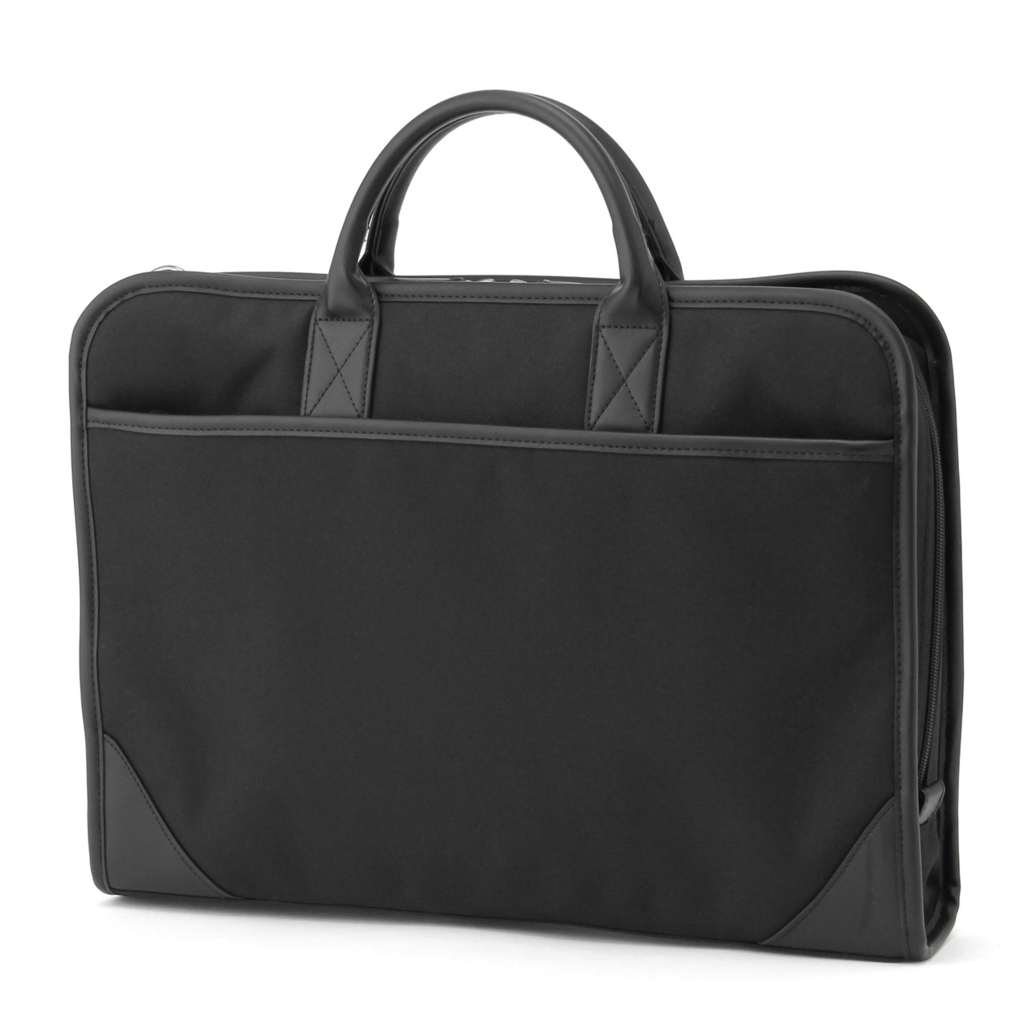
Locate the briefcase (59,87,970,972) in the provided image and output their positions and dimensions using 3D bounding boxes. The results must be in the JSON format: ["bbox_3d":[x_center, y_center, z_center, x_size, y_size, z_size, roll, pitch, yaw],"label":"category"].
[{"bbox_3d":[0.056,0.119,1.647,1.072,1.005,0.330,1,4,12],"label":"briefcase"}]
